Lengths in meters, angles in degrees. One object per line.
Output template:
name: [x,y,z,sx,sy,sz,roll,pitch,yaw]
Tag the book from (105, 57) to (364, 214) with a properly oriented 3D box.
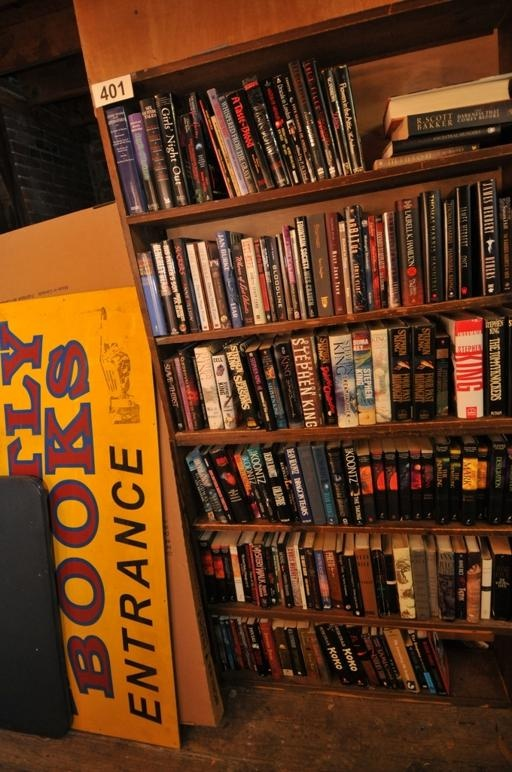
book: [-0.058,-0.660,1.734,0.656,0.308,0.131,-7,11,14]
